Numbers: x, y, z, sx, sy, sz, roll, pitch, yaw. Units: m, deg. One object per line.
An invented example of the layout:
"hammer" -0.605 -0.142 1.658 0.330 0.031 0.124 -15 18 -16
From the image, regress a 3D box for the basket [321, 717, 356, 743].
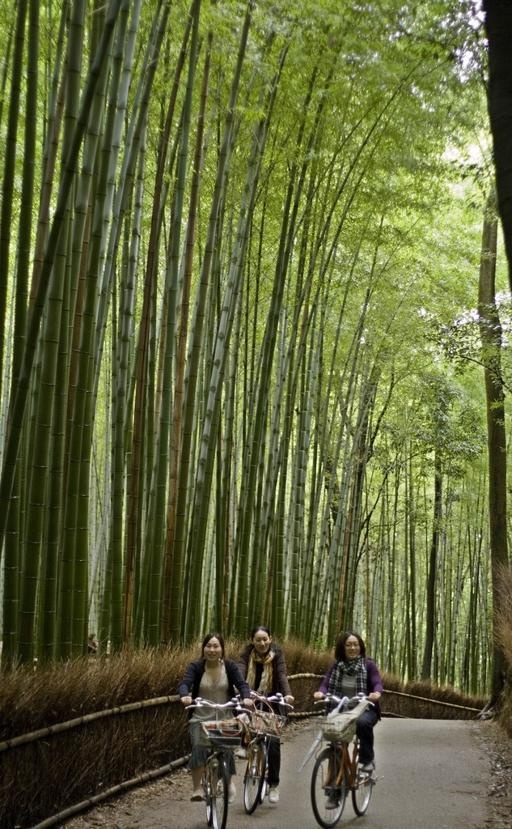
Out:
"basket" 0.305 1.143 2.799 0.090 0.066 0.082 -9 -22 26

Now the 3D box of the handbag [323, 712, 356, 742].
"handbag" 0.306 1.147 2.793 0.092 0.121 0.092 -8 -33 23

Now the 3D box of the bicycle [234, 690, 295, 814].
"bicycle" 0.021 1.308 2.990 0.186 0.330 0.543 14 -42 8
